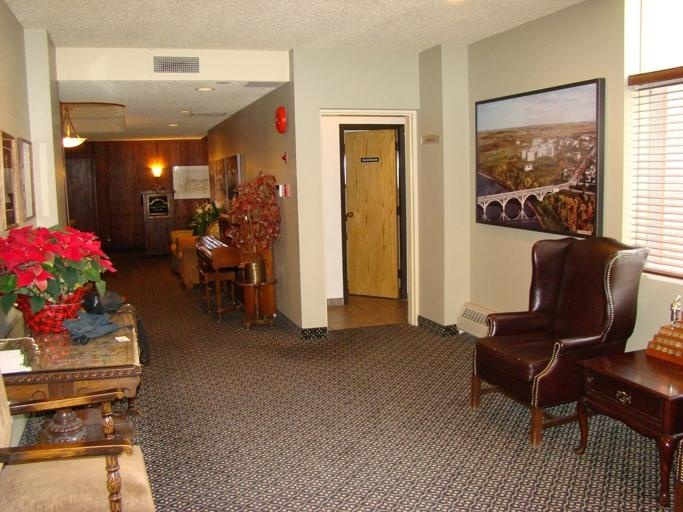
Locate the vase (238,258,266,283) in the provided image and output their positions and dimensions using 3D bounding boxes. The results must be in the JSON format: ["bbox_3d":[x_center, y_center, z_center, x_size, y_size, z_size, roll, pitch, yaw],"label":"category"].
[{"bbox_3d":[-1.139,0.168,6.278,0.325,0.328,0.239,-2,10,-5],"label":"vase"}]

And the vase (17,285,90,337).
[{"bbox_3d":[-1.744,0.327,3.002,0.282,0.184,0.319,7,10,34],"label":"vase"}]

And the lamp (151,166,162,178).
[{"bbox_3d":[-5.113,-2.355,13.604,0.299,0.221,0.268,2,13,-1],"label":"lamp"}]

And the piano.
[{"bbox_3d":[-1.816,0.243,7.387,0.570,1.010,1.632,-1,10,-14],"label":"piano"}]

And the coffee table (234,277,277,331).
[{"bbox_3d":[-1.144,0.599,6.635,0.642,0.665,0.618,-3,8,-18],"label":"coffee table"}]

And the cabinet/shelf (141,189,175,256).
[{"bbox_3d":[-4.981,-0.919,13.392,0.808,1.766,0.240,-5,10,-18],"label":"cabinet/shelf"}]

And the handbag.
[{"bbox_3d":[-1.608,0.514,3.498,0.538,0.298,0.629,1,14,-1],"label":"handbag"}]

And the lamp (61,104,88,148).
[{"bbox_3d":[-3.426,-1.610,6.238,0.223,0.440,0.856,-7,11,-27],"label":"lamp"}]

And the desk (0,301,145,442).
[{"bbox_3d":[-1.383,0.586,2.584,0.649,0.208,0.919,-4,19,-13],"label":"desk"}]
